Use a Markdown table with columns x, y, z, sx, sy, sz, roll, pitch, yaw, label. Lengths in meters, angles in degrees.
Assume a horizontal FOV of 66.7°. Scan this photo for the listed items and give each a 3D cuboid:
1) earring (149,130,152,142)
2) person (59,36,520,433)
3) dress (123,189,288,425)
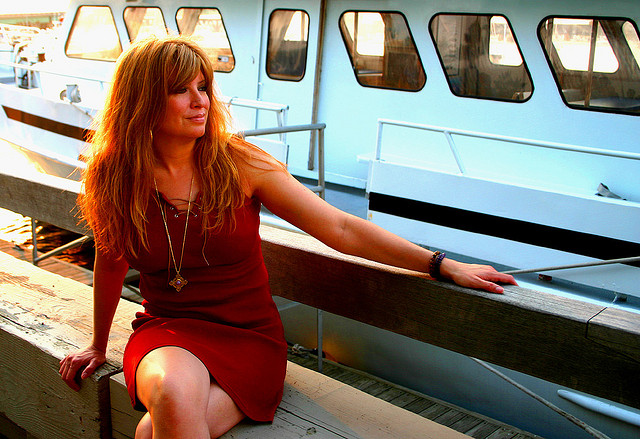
| x | y | z | sx | sy | sz | roll | pitch | yaw | label |
| --- | --- | --- | --- | --- | --- | --- | --- | --- | --- |
| -0.659 | -0.327 | 1.905 | 0.009 | 0.047 | 0.035 | -2 | 14 | -17 | earring |
| -0.456 | 0.016 | 1.929 | 1.376 | 1.430 | 0.851 | 13 | 17 | 39 | person |
| -0.439 | 0.314 | 1.879 | 0.628 | 0.820 | 0.497 | -1 | 14 | -13 | dress |
